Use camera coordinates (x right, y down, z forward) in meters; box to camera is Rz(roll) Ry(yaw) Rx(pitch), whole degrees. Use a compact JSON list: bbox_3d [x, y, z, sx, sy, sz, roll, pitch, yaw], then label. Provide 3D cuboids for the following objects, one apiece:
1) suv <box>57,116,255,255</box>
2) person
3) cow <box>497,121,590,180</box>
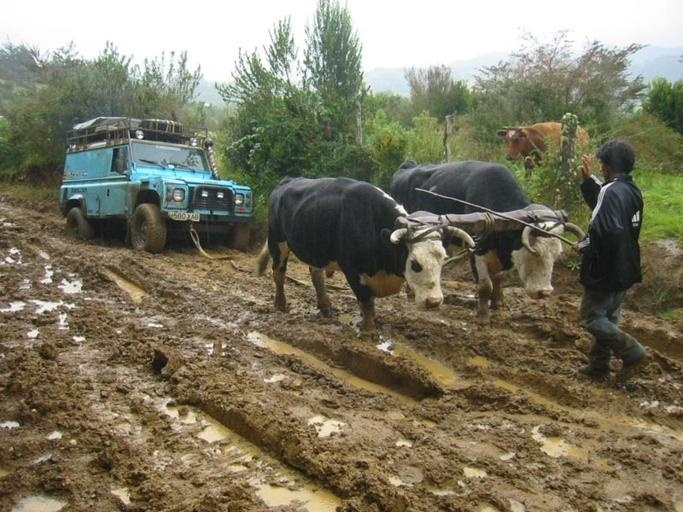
[{"bbox_3d":[-4.081,-1.695,15.233,4.437,2.993,2.485,7,8,44],"label":"suv"},{"bbox_3d":[3.330,0.058,8.323,0.837,2.967,0.631,-1,8,12],"label":"person"},{"bbox_3d":[4.179,-2.374,14.394,2.379,1.429,0.804,-3,6,-32],"label":"cow"}]
